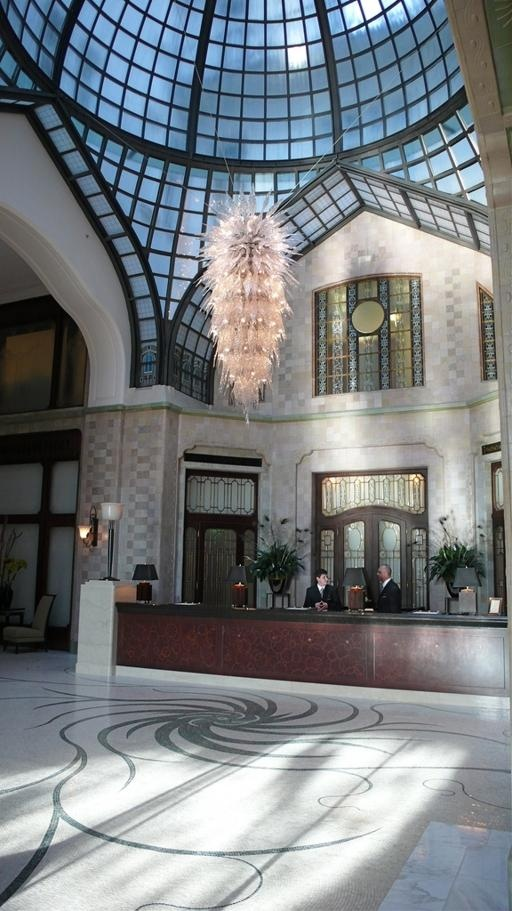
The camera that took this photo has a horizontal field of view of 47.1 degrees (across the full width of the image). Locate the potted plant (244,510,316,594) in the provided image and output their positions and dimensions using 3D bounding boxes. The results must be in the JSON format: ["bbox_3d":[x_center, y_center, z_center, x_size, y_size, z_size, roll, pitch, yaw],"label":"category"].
[{"bbox_3d":[0.348,2.108,12.154,1.352,1.700,1.118,-15,-20,43],"label":"potted plant"}]

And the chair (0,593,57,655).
[{"bbox_3d":[-4.702,3.430,12.107,0.877,1.097,1.253,7,-15,-23],"label":"chair"}]

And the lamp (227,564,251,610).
[{"bbox_3d":[-0.265,1.829,8.233,0.255,0.600,0.714,1,-13,-3],"label":"lamp"}]

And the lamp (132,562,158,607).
[{"bbox_3d":[-1.849,2.090,9.703,0.343,0.634,1.078,4,-14,-12],"label":"lamp"}]

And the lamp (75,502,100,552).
[{"bbox_3d":[-3.412,1.398,11.727,0.422,0.872,0.467,-3,-14,17],"label":"lamp"}]

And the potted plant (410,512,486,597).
[{"bbox_3d":[3.376,1.766,10.382,1.165,1.442,0.861,-9,-16,35],"label":"potted plant"}]

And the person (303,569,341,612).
[{"bbox_3d":[0.968,1.996,8.852,0.497,0.622,1.623,0,-14,4],"label":"person"}]
